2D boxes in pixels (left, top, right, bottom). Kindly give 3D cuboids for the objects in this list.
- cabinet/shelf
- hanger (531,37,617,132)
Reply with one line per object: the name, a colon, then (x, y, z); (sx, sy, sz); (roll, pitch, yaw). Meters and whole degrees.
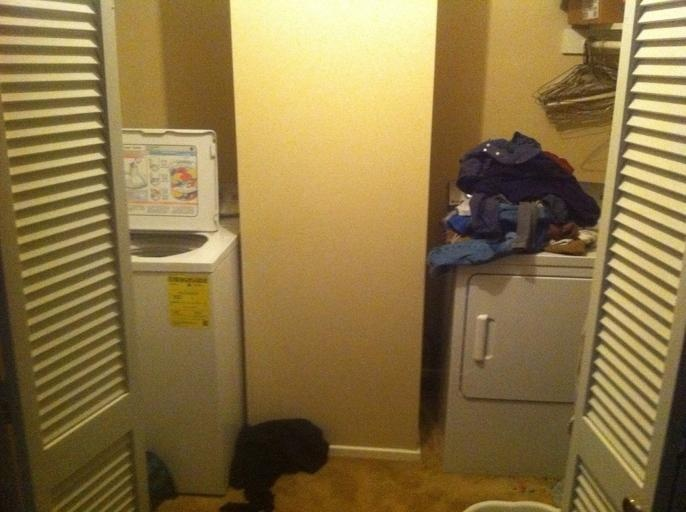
cabinet/shelf: (0.792, 0.525, 2.670); (0.619, 1.077, 0.148); (1, 19, 5)
hanger: (1.246, -0.909, 3.098); (0.367, 0.416, 0.184); (0, 21, -5)
